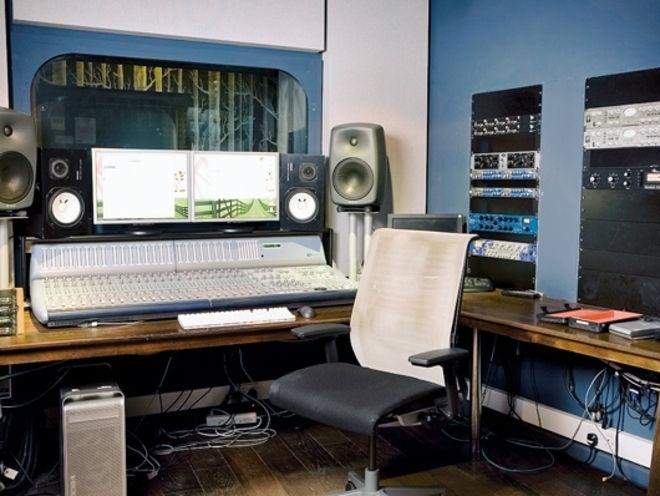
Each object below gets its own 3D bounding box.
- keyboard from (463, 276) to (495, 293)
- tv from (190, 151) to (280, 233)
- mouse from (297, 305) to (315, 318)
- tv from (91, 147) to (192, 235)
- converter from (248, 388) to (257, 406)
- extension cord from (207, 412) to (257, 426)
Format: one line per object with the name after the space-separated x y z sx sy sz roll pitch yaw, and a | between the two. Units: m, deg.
0.914 0.227 3.328 0.209 0.069 0.192 -1 11 -3 | keyboard
-0.584 -0.358 3.283 0.518 0.419 0.046 0 1 -19 | tv
-0.117 0.316 2.686 0.048 0.022 0.064 -3 12 -26 | mouse
-1.099 -0.341 3.105 0.514 0.406 0.052 -1 4 -18 | tv
-0.509 0.988 3.560 0.022 0.084 0.060 -3 4 -18 | converter
-0.628 1.082 3.386 0.139 0.038 0.133 -3 0 13 | extension cord
